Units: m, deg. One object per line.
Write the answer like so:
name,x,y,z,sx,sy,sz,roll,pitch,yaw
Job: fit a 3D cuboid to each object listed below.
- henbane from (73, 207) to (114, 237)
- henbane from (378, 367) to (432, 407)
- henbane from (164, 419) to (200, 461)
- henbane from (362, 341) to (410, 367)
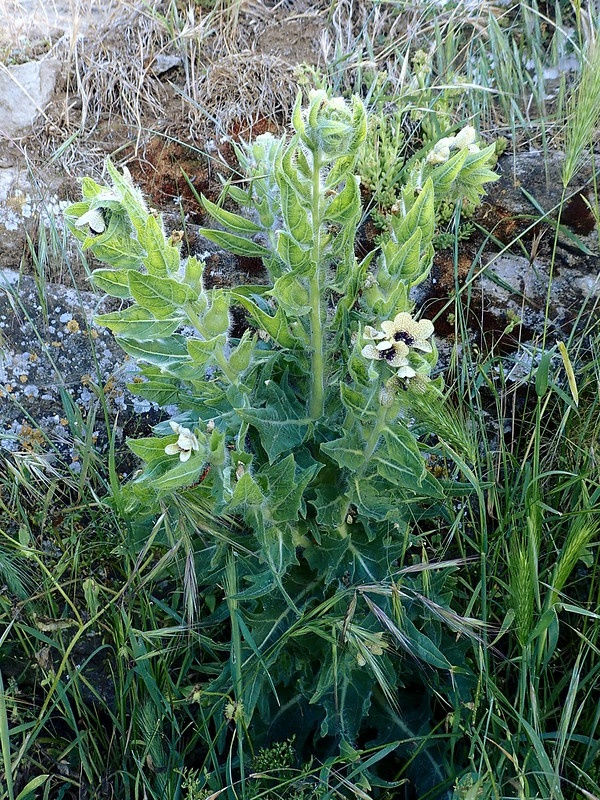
henbane,-0.460,-0.396,1.772,0.065,0.023,0.063,-5,52,-23
henbane,0.225,-0.020,1.759,0.080,0.089,0.038,11,57,-3
henbane,-0.266,0.097,1.882,0.038,0.087,0.079,-37,83,-35
henbane,0.188,-0.101,1.734,0.100,0.062,0.043,18,52,24
